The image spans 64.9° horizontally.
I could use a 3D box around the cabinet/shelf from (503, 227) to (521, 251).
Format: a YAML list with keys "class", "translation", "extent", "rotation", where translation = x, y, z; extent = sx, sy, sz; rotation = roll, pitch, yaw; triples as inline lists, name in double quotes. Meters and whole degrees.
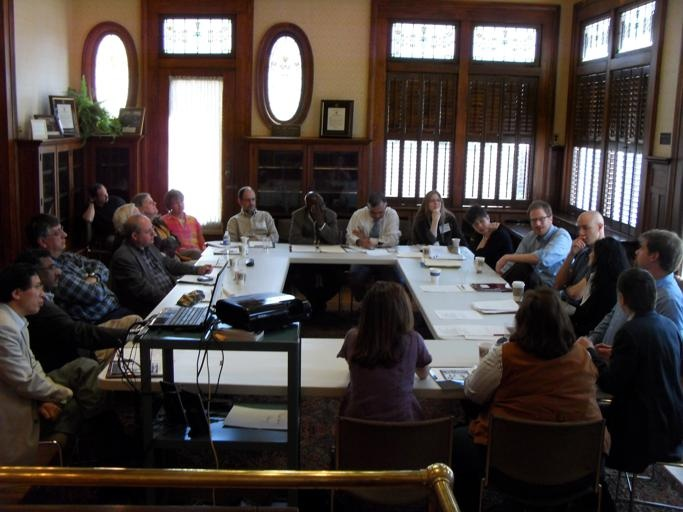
- class: "cabinet/shelf"
  translation: [2.053, -0.210, 6.495]
  extent: [0.128, 0.175, 0.267]
  rotation: [0, 26, -5]

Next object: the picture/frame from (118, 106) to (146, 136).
- class: "picture/frame"
  translation: [-2.849, -1.855, 7.340]
  extent: [0.378, 0.443, 0.041]
  rotation: [1, -11, 0]

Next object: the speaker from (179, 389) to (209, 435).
- class: "speaker"
  translation: [-0.739, 0.811, 2.724]
  extent: [0.120, 0.254, 0.056]
  rotation: [1, 11, 24]

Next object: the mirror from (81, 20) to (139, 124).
- class: "mirror"
  translation: [-3.193, -2.630, 7.462]
  extent: [0.783, 1.209, 0.100]
  rotation: [1, 9, 6]

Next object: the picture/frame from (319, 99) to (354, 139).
- class: "picture/frame"
  translation: [-0.065, -1.920, 7.480]
  extent: [0.471, 0.606, 0.060]
  rotation: [2, 2, 0]

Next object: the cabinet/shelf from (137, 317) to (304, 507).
- class: "cabinet/shelf"
  translation: [-0.552, 0.727, 3.044]
  extent: [0.818, 1.000, 0.855]
  rotation: [0, 4, -1]

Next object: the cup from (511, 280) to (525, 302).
- class: "cup"
  translation: [1.340, 0.269, 4.094]
  extent: [0.106, 0.151, 0.110]
  rotation: [-1, 13, 0]

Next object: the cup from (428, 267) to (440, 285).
- class: "cup"
  translation: [0.823, 0.182, 4.802]
  extent: [0.111, 0.134, 0.115]
  rotation: [0, 6, 0]

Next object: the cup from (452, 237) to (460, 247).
- class: "cup"
  translation: [1.186, -0.151, 5.575]
  extent: [0.092, 0.110, 0.103]
  rotation: [0, 3, 8]

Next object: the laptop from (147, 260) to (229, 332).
- class: "laptop"
  translation: [-1.085, 0.275, 3.783]
  extent: [0.339, 0.252, 0.386]
  rotation: [4, 14, 0]

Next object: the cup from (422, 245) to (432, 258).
- class: "cup"
  translation: [0.867, -0.049, 5.470]
  extent: [0.092, 0.100, 0.085]
  rotation: [-1, 6, 0]
